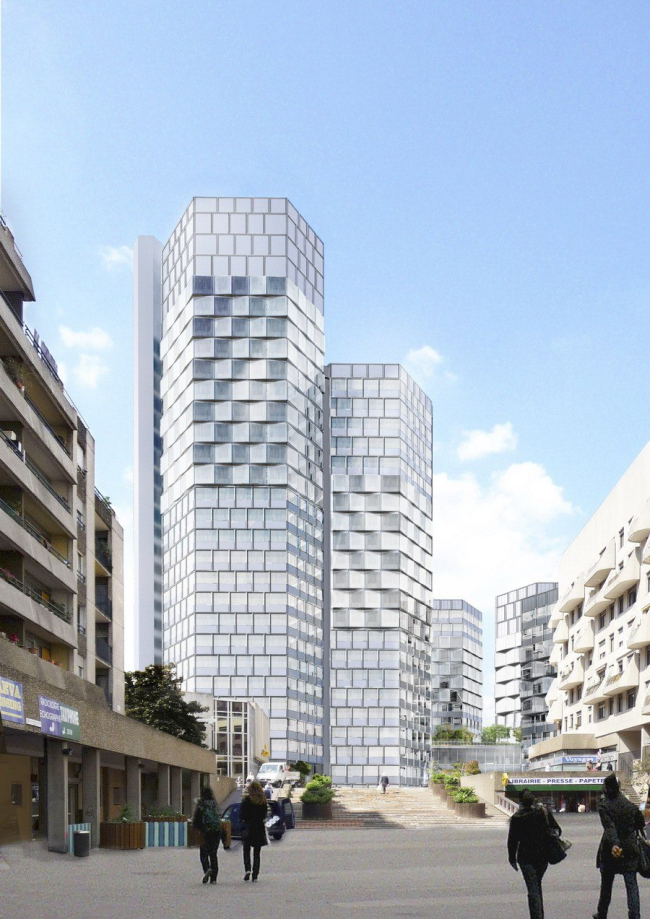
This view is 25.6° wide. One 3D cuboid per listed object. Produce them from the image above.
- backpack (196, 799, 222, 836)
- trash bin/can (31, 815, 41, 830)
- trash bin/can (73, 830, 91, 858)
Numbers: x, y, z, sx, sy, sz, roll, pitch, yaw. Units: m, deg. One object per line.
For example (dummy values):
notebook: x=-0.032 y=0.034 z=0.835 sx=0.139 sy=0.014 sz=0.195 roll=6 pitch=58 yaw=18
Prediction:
backpack: x=-1.760 y=5.413 z=21.498 sx=0.381 sy=0.773 sz=0.361 roll=0 pitch=-15 yaw=-4
trash bin/can: x=-7.582 y=9.552 z=37.474 sx=0.166 sy=0.467 sz=0.917 roll=4 pitch=-21 yaw=-10
trash bin/can: x=-5.082 y=7.990 z=29.628 sx=0.335 sy=0.716 sz=0.397 roll=-2 pitch=-8 yaw=19
